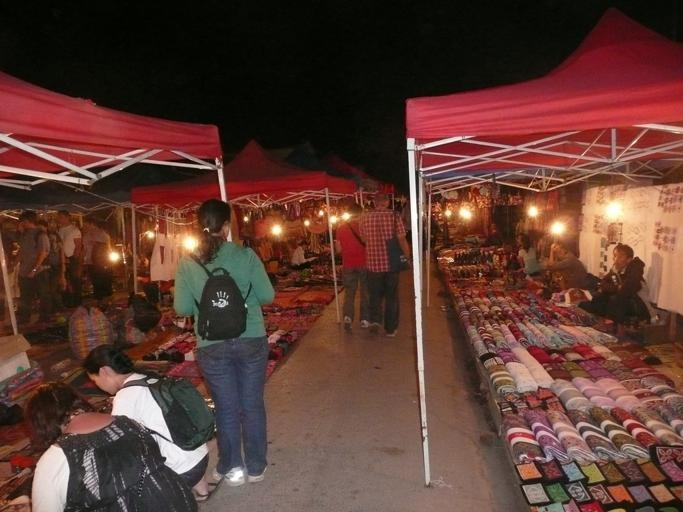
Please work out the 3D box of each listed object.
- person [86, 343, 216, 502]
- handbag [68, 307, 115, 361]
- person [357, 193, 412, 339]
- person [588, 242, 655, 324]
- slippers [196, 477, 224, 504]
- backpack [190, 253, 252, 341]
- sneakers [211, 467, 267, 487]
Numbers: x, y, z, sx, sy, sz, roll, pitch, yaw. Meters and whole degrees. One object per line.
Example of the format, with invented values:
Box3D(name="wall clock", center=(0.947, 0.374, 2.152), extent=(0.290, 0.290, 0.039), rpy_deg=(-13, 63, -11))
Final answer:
Box3D(name="person", center=(-1.368, 1.255, 3.136), extent=(0.890, 1.134, 0.710), rpy_deg=(-2, 7, 4))
Box3D(name="handbag", center=(-3.714, 1.116, 6.210), extent=(0.508, 0.758, 0.580), rpy_deg=(0, 6, 38))
Box3D(name="person", center=(0.671, 0.132, 6.491), extent=(0.529, 2.224, 0.735), rpy_deg=(-9, 12, -32))
Box3D(name="person", center=(4.269, 0.446, 6.466), extent=(0.803, 1.163, 0.787), rpy_deg=(1, 7, 14))
Box3D(name="slippers", center=(-1.057, 1.812, 3.316), extent=(0.095, 0.060, 0.236), rpy_deg=(1, 12, 11))
Box3D(name="backpack", center=(-0.850, 0.314, 3.313), extent=(0.460, 0.556, 0.557), rpy_deg=(-2, 14, -10))
Box3D(name="sneakers", center=(-0.842, 1.778, 3.491), extent=(0.437, 0.165, 0.158), rpy_deg=(2, 2, -4))
